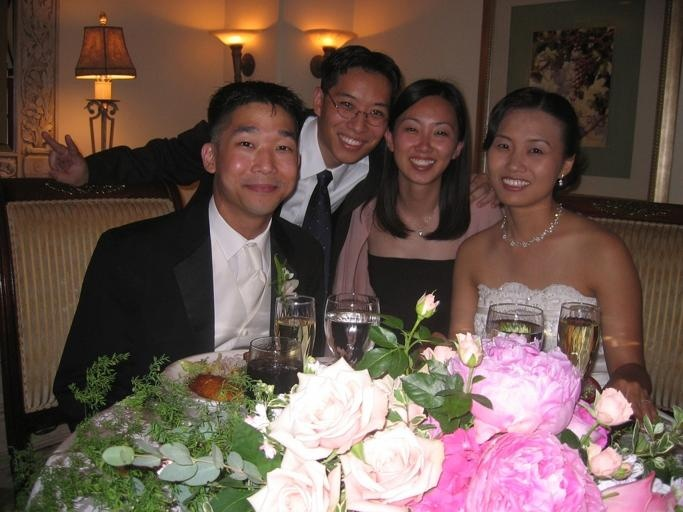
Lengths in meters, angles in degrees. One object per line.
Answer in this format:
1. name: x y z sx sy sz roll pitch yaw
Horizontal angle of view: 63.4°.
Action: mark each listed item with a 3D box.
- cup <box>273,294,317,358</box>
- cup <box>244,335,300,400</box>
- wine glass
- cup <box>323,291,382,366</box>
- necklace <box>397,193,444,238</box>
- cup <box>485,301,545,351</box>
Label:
1. cup: -0.141 0.228 1.692 0.133 0.210 0.134 0 -2 0
2. cup: -0.174 0.299 1.425 0.145 0.152 0.152 4 7 0
3. wine glass: 0.638 0.248 1.495 0.110 0.272 0.125 -4 13 8
4. cup: 0.026 0.225 1.610 0.155 0.255 0.157 1 14 0
5. necklace: 0.421 -0.204 2.935 0.160 0.228 0.055 -1 13 15
6. cup: 0.459 0.158 1.424 0.134 0.147 0.144 1 0 0
